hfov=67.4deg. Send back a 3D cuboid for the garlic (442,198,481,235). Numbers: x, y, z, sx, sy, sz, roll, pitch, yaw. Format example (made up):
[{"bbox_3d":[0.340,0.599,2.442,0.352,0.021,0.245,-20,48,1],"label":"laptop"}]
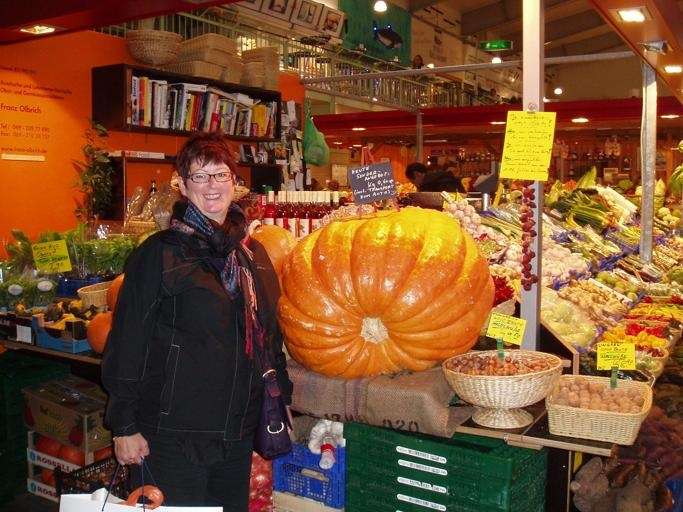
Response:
[{"bbox_3d":[0.782,-0.224,3.301,0.209,0.128,0.265,41,4,21],"label":"garlic"}]

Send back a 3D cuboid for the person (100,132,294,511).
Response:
[{"bbox_3d":[-0.571,0.316,1.969,0.565,1.580,0.548,1,3,33],"label":"person"}]

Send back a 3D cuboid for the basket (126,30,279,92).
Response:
[{"bbox_3d":[-1.617,-2.404,6.334,1.046,0.376,1.661,9,6,43],"label":"basket"}]

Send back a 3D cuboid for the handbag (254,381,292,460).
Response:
[{"bbox_3d":[-0.255,0.646,2.024,0.139,0.283,0.147,14,12,38],"label":"handbag"}]

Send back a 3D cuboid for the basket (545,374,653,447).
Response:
[{"bbox_3d":[1.080,0.630,2.151,0.348,0.146,0.605,5,5,32],"label":"basket"}]

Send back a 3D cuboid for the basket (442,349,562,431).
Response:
[{"bbox_3d":[0.654,0.537,2.091,0.395,0.253,0.464,5,6,38],"label":"basket"}]

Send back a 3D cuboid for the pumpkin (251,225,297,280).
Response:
[{"bbox_3d":[-0.340,-0.035,2.660,0.200,0.250,0.228,-11,16,-38],"label":"pumpkin"}]

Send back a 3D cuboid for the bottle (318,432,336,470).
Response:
[{"bbox_3d":[-0.059,0.885,2.327,0.070,0.120,0.122,2,5,-3],"label":"bottle"}]

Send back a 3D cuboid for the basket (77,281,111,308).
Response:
[{"bbox_3d":[-1.442,0.218,3.024,0.155,0.067,0.179,0,4,26],"label":"basket"}]

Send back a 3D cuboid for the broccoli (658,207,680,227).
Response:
[{"bbox_3d":[4.640,-0.568,7.277,0.320,0.171,0.416,-9,14,18],"label":"broccoli"}]

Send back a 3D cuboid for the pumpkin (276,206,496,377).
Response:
[{"bbox_3d":[0.198,0.169,2.325,0.951,0.734,0.379,3,5,10],"label":"pumpkin"}]

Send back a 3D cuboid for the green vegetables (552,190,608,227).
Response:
[{"bbox_3d":[2.324,-0.407,4.987,0.368,0.166,0.445,-17,33,-31],"label":"green vegetables"}]

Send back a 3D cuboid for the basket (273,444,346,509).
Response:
[{"bbox_3d":[-0.130,1.065,2.470,0.404,0.356,0.111,6,4,34],"label":"basket"}]
